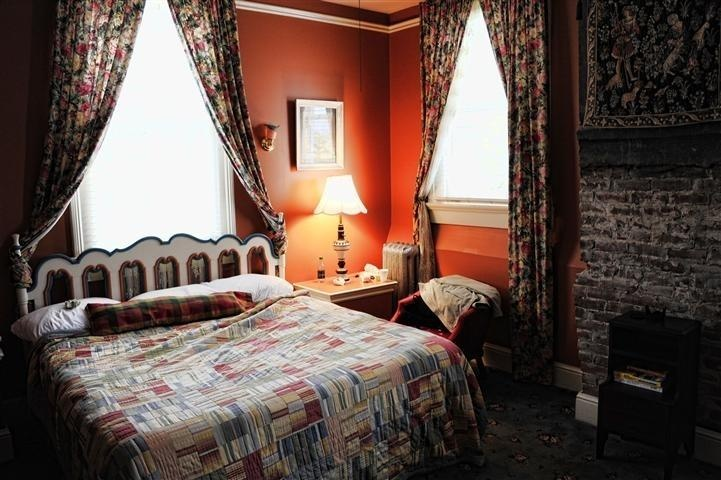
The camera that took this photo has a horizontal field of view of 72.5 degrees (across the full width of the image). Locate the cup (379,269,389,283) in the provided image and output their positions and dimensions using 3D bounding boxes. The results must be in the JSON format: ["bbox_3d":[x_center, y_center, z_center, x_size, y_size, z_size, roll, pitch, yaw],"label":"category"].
[{"bbox_3d":[0.256,0.392,5.457,0.092,0.114,0.115,6,10,33],"label":"cup"}]

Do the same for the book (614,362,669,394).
[{"bbox_3d":[2.050,1.004,3.567,0.147,0.070,0.285,-9,9,-41],"label":"book"}]

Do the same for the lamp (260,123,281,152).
[{"bbox_3d":[-0.916,-1.068,5.058,0.214,0.288,0.122,-8,9,-34],"label":"lamp"}]

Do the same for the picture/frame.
[{"bbox_3d":[-0.472,-1.182,5.390,0.786,0.947,0.061,-6,9,-43],"label":"picture/frame"}]

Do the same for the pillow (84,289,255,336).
[{"bbox_3d":[-1.587,0.676,4.378,0.288,0.361,1.545,18,11,39],"label":"pillow"}]

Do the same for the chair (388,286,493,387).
[{"bbox_3d":[0.685,0.873,4.606,0.689,0.809,0.800,6,-3,21],"label":"chair"}]
